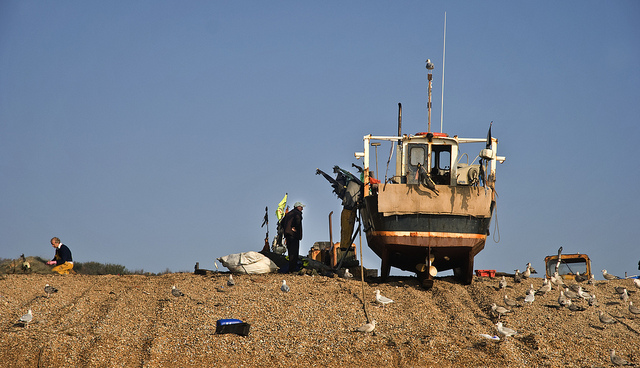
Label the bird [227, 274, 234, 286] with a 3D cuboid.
[{"bbox_3d":[-4.084,4.434,36.923,0.300,0.526,0.319,-4,-21,17],"label":"bird"}]

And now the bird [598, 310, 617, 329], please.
[{"bbox_3d":[12.358,5.778,35.056,0.960,0.679,0.382,5,-5,-3],"label":"bird"}]

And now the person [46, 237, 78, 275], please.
[{"bbox_3d":[-12.681,3.696,39.300,1.449,2.238,0.938,-7,7,-43],"label":"person"}]

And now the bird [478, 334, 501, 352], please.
[{"bbox_3d":[7.205,6.411,33.116,0.412,0.192,0.772,-11,9,-7],"label":"bird"}]

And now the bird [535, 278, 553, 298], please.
[{"bbox_3d":[10.687,4.861,37.985,1.153,0.805,0.399,-13,3,-41],"label":"bird"}]

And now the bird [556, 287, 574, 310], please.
[{"bbox_3d":[11.077,5.157,36.532,0.706,0.735,0.443,20,-14,11],"label":"bird"}]

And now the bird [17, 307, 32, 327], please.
[{"bbox_3d":[-12.268,5.492,33.327,0.339,0.862,1.063,5,0,12],"label":"bird"}]

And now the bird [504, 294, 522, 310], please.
[{"bbox_3d":[8.669,5.261,36.253,0.799,0.654,0.337,2,-2,0],"label":"bird"}]

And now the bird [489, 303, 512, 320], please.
[{"bbox_3d":[7.856,5.500,35.093,0.730,0.634,1.264,1,-5,14],"label":"bird"}]
